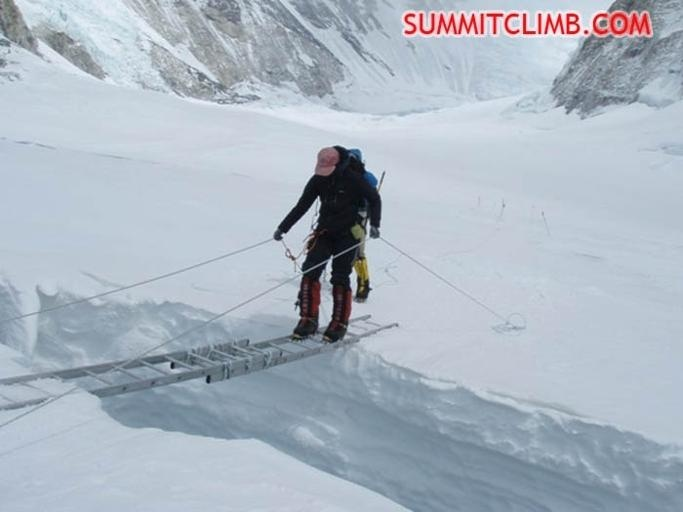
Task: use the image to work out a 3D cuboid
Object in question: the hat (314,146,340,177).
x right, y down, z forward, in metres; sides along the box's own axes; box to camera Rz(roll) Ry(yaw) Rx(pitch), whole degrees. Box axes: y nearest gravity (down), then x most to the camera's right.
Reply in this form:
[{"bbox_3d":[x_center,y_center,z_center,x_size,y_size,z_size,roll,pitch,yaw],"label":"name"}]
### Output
[{"bbox_3d":[-0.186,-1.226,8.390,0.333,0.318,0.410,-1,60,6],"label":"hat"}]
